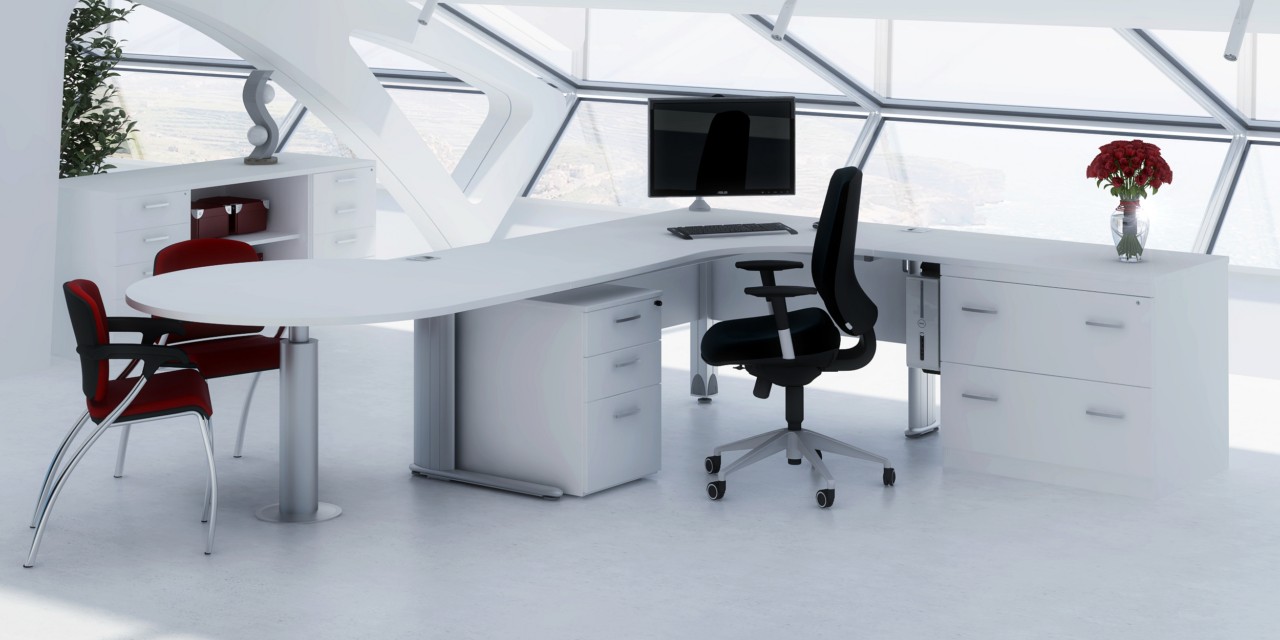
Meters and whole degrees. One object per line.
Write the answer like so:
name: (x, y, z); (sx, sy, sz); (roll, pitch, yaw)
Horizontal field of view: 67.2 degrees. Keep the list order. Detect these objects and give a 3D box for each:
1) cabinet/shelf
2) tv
cabinet/shelf: (-3.408, -0.524, 7.593); (0.963, 0.910, 2.344); (6, 11, 33)
tv: (0.615, -1.375, 7.531); (1.116, 0.552, 0.099); (0, 1, 0)
